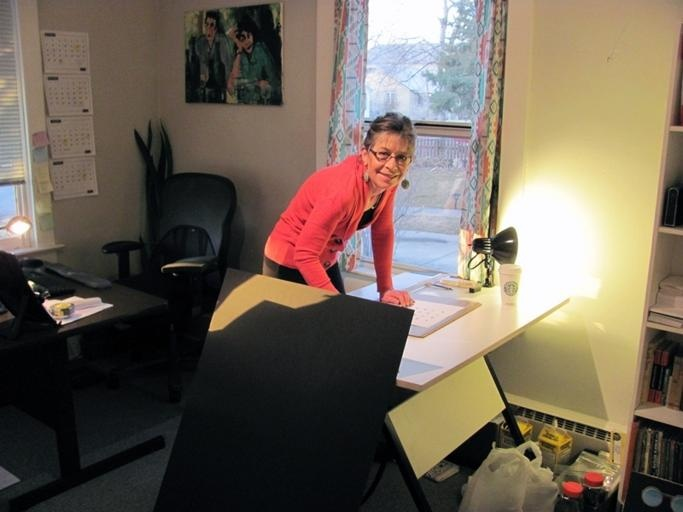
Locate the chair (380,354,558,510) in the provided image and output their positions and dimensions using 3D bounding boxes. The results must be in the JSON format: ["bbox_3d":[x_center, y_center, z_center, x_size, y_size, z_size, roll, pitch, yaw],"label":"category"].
[{"bbox_3d":[0.614,0.897,2.452,0.661,0.649,0.524,-34,18,-23],"label":"chair"}]

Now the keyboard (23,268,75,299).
[{"bbox_3d":[-1.701,0.149,2.909,0.168,0.051,0.345,-13,25,-41],"label":"keyboard"}]

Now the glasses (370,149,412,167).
[{"bbox_3d":[0.213,-0.430,2.195,0.178,0.062,0.057,3,14,2],"label":"glasses"}]

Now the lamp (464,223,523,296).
[{"bbox_3d":[0.868,-0.007,2.859,0.248,0.365,0.219,1,9,17],"label":"lamp"}]
